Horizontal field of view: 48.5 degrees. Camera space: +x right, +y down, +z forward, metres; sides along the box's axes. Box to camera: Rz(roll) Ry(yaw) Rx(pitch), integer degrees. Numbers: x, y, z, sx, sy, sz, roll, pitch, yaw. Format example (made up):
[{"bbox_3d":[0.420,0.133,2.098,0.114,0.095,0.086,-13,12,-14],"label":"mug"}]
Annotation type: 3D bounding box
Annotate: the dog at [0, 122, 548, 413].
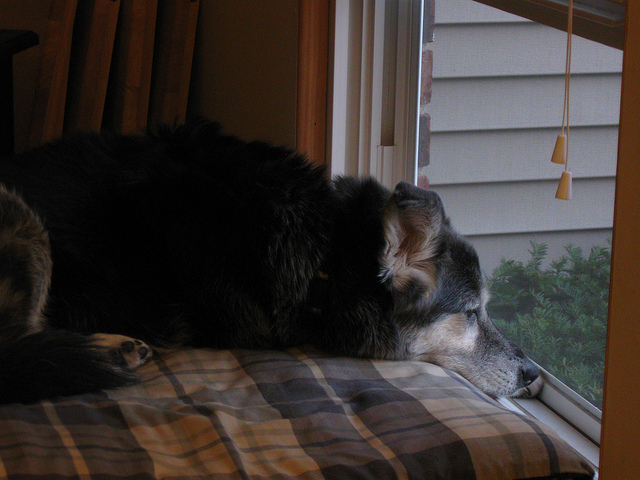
[{"bbox_3d":[-0.222,0.015,2.062,1.091,0.467,0.772,11,-8,-8],"label":"dog"}]
